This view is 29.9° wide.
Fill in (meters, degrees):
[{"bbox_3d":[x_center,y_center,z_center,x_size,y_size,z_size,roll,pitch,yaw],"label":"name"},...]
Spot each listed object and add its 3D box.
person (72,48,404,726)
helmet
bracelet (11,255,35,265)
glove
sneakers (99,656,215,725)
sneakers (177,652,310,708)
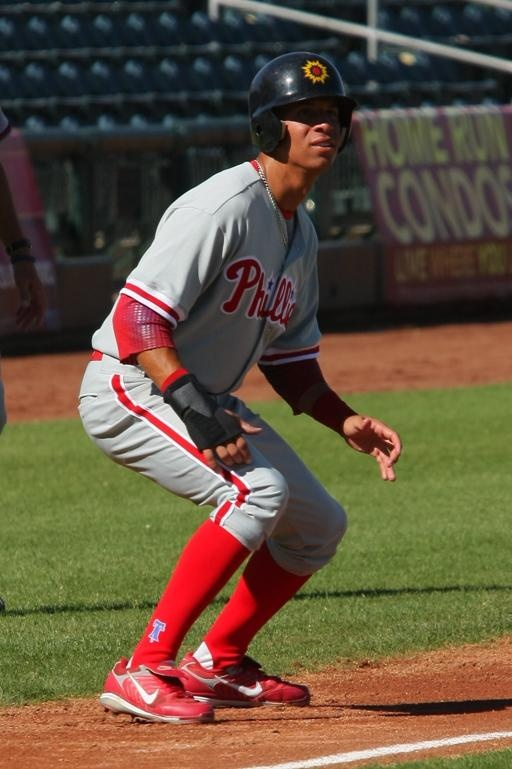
[{"bbox_3d":[-0.059,-0.002,2.273,0.493,1.577,0.672,4,7,37],"label":"person"},{"bbox_3d":[0.113,-0.662,2.263,0.271,0.222,0.282,-6,8,4],"label":"helmet"},{"bbox_3d":[-0.747,-0.401,3.060,0.058,0.034,0.061,3,-11,-37],"label":"bracelet"},{"bbox_3d":[-0.128,0.058,2.019,0.139,0.178,0.069,-42,10,-7],"label":"glove"},{"bbox_3d":[-0.220,0.675,2.120,0.296,0.114,0.103,0,-8,36],"label":"sneakers"},{"bbox_3d":[-0.036,0.715,2.353,0.391,0.146,0.120,4,-1,-13],"label":"sneakers"}]
